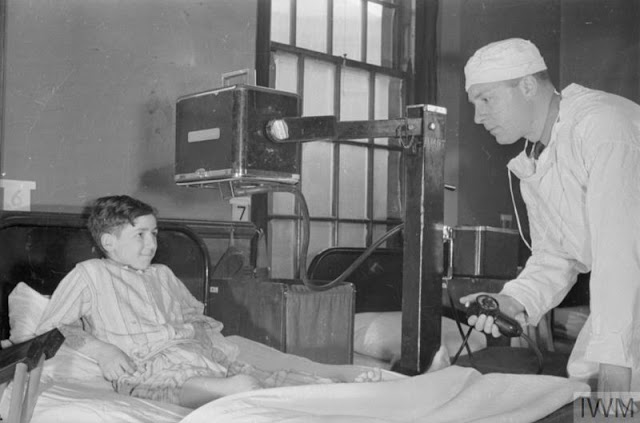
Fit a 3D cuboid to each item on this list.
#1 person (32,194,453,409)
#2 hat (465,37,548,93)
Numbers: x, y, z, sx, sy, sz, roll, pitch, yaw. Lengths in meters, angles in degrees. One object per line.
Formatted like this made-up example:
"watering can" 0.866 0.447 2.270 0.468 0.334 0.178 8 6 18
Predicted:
"person" -0.423 0.332 2.632 0.600 0.906 0.654 1 -2 -11
"hat" 0.481 -0.376 2.289 0.208 0.135 0.072 1 -2 6
